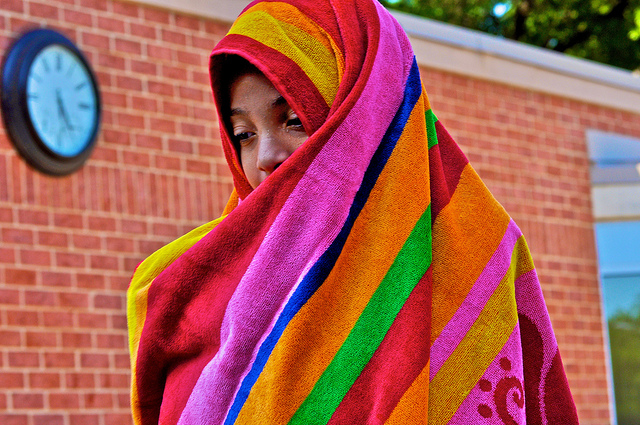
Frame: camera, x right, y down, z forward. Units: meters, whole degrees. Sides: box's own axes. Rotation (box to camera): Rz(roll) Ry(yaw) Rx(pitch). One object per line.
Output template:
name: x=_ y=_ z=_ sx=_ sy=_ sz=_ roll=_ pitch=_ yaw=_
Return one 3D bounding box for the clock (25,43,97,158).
clock: x=-1.948 y=-0.811 z=7.743 sx=0.738 sy=0.909 sz=0.079 roll=12 pitch=-15 yaw=-40
